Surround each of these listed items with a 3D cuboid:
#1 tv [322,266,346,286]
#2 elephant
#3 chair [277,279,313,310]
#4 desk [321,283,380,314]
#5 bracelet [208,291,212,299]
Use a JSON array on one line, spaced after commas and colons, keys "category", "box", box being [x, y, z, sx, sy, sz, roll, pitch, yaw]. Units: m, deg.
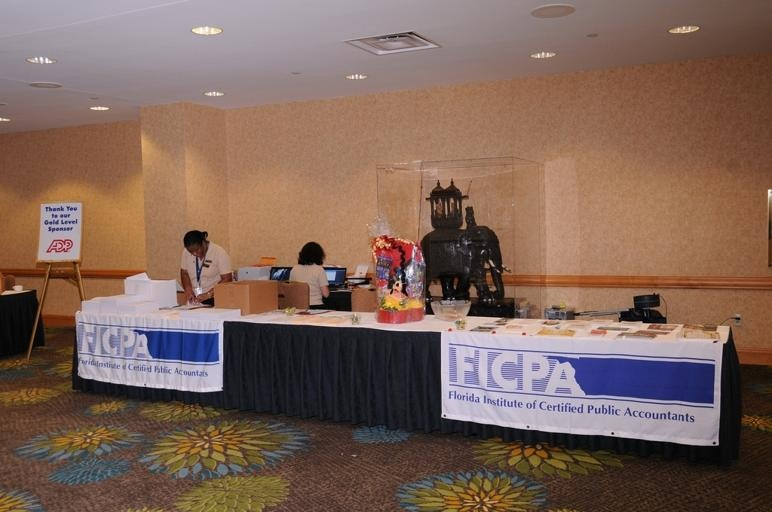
[{"category": "tv", "box": [-0.759, 0.289, 8.793, 0.358, 0.250, 0.286, 2, 5, 3]}, {"category": "elephant", "box": [0.864, 0.102, 6.688, 0.981, 0.760, 0.648, -2, 1, 24]}, {"category": "chair", "box": [-1.024, 0.419, 6.688, 0.309, 0.223, 0.411, 2, 1, 14]}, {"category": "desk", "box": [-0.452, 0.527, 7.318, 0.298, 0.327, 0.522, -1, 2, -26]}, {"category": "bracelet", "box": [-2.116, 0.460, 7.127, 0.070, 0.082, 0.023, 2, -5, -4]}]
